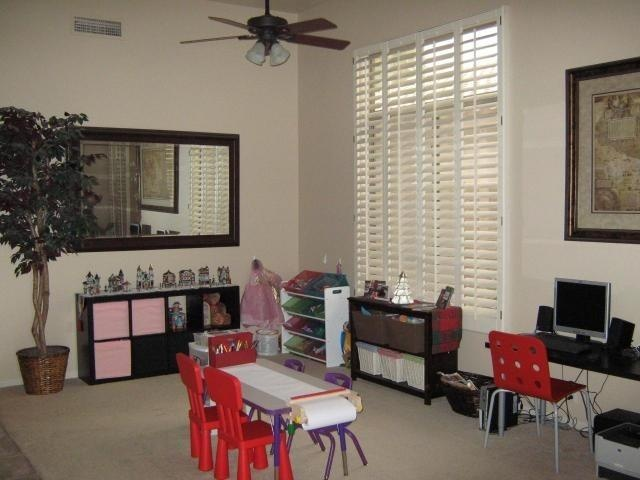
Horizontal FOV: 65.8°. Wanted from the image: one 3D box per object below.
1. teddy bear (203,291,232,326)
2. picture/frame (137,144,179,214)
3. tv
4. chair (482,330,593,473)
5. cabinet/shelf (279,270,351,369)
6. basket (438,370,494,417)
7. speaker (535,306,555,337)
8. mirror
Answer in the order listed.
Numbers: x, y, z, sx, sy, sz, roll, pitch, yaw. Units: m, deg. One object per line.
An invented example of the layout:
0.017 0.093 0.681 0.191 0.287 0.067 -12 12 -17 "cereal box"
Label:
-1.345 0.939 6.472 0.268 0.494 0.166 -8 -18 -31 "teddy bear"
-2.029 -0.780 6.277 0.463 0.841 0.114 -2 5 -21 "picture/frame"
2.134 0.574 4.017 0.174 0.514 0.490 3 -3 -39 "tv"
1.764 1.322 3.994 0.641 1.187 0.806 -9 9 -36 "chair"
-0.036 1.015 6.162 0.549 1.298 1.064 -1 3 -38 "cabinet/shelf"
1.399 1.419 4.687 0.356 0.313 0.437 3 -5 -27 "basket"
1.956 0.707 4.273 0.183 0.312 0.214 5 -3 29 "speaker"
-2.142 -0.633 6.133 1.567 1.204 0.083 -2 6 -31 "mirror"
